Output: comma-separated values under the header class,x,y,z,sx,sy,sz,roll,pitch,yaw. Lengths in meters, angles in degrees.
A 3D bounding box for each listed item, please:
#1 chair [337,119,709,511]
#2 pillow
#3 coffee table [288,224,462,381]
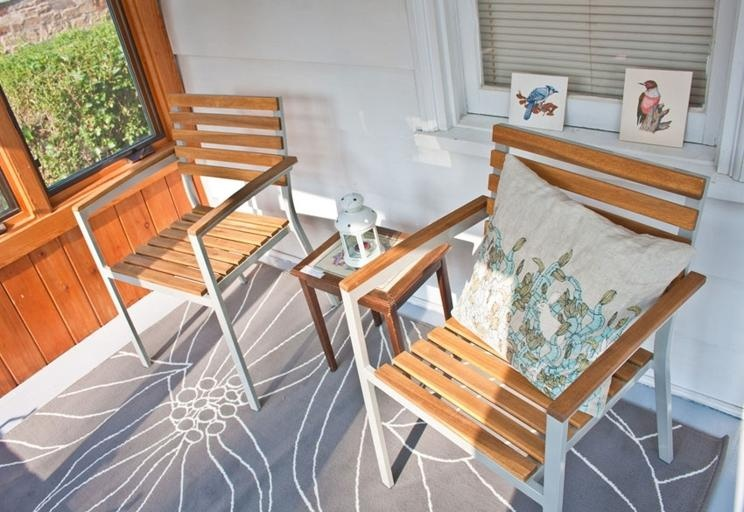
class,x,y,z,sx,sy,sz,roll,pitch,yaw
chair,0.534,0.224,1.551,0.889,1.203,0.839,28,53,34
pillow,0.601,0.080,1.390,0.381,0.635,0.756,-27,44,-30
coffee table,0.025,0.225,2.063,0.569,0.511,0.515,-16,7,-17
